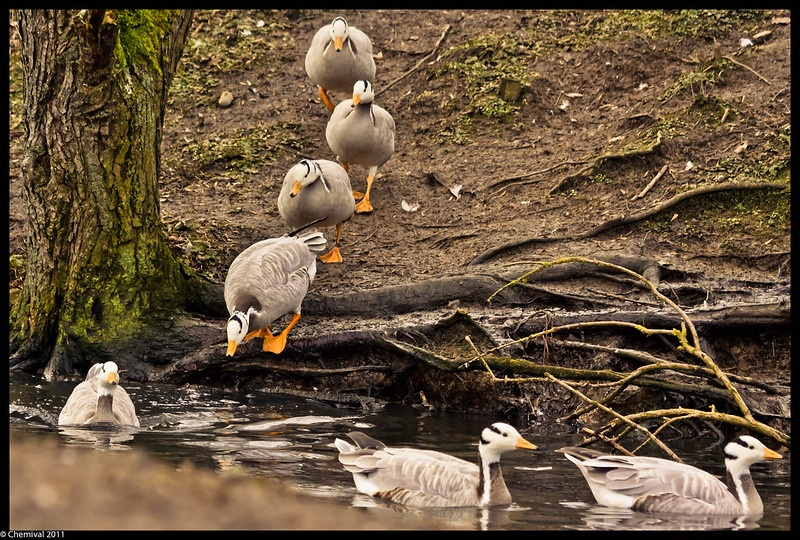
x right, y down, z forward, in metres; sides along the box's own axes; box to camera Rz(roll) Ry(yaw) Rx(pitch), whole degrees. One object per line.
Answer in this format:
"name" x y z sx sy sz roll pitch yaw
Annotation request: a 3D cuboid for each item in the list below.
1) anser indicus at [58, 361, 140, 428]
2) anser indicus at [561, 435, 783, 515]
"anser indicus" -3.832 1.440 16.427 0.752 0.731 1.106 4 26 -22
"anser indicus" 3.200 2.424 15.368 2.629 0.869 0.914 4 12 13
